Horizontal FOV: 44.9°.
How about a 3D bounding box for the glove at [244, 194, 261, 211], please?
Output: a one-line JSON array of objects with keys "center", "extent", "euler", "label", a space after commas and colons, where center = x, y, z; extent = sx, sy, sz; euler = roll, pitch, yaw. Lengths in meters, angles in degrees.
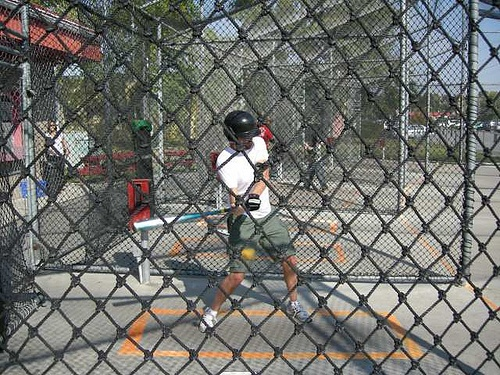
[{"center": [0.026, 0.126, 5.377], "extent": [0.136, 0.168, 0.110], "euler": [2, -8, -4], "label": "glove"}]
